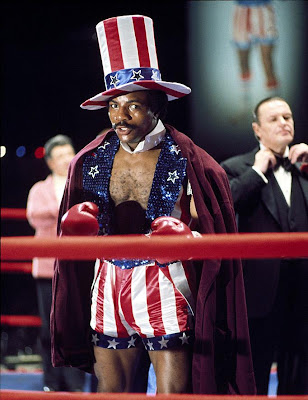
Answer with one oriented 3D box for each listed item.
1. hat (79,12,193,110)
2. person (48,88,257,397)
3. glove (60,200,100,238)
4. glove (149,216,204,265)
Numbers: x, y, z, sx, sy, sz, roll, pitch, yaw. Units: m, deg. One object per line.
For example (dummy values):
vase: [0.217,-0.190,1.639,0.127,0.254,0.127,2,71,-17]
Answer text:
hat: [-0.148,-0.604,2.807,0.491,0.271,0.444,-8,0,-22]
person: [-0.047,0.254,2.622,0.813,1.424,0.631,-6,14,12]
glove: [-0.286,0.090,2.408,0.160,0.118,0.288,-8,11,-6]
glove: [0.067,0.110,2.343,0.146,0.070,0.191,-7,11,-6]
